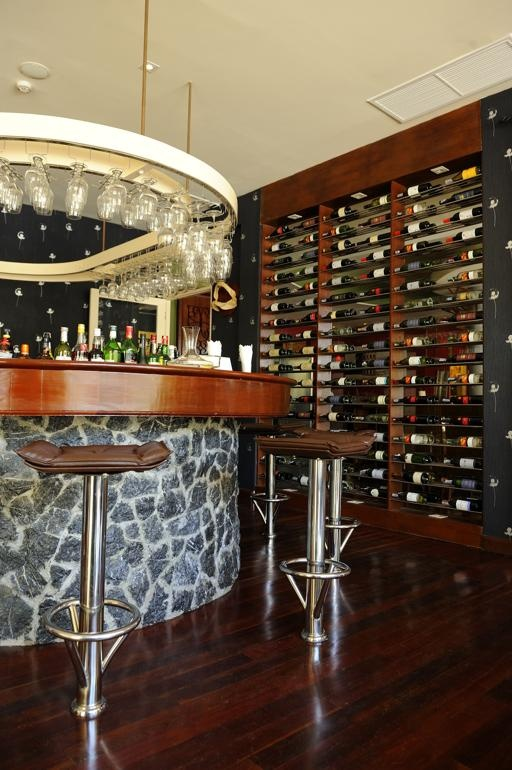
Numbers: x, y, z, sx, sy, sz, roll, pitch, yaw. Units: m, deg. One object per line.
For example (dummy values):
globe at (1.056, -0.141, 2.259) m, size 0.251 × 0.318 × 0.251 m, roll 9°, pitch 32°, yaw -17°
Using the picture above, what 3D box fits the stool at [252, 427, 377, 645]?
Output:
stool at (0.253, 0.586, 2.450) m, size 0.470 × 0.776 × 0.830 m, roll 1°, pitch -3°, yaw 11°

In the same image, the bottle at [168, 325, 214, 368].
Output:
bottle at (-0.287, -0.186, 3.007) m, size 0.262 × 0.257 × 0.252 m, roll 1°, pitch 0°, yaw -33°

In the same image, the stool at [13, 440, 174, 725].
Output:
stool at (-0.480, 0.544, 1.751) m, size 0.399 × 0.744 × 0.590 m, roll 2°, pitch -3°, yaw -10°
